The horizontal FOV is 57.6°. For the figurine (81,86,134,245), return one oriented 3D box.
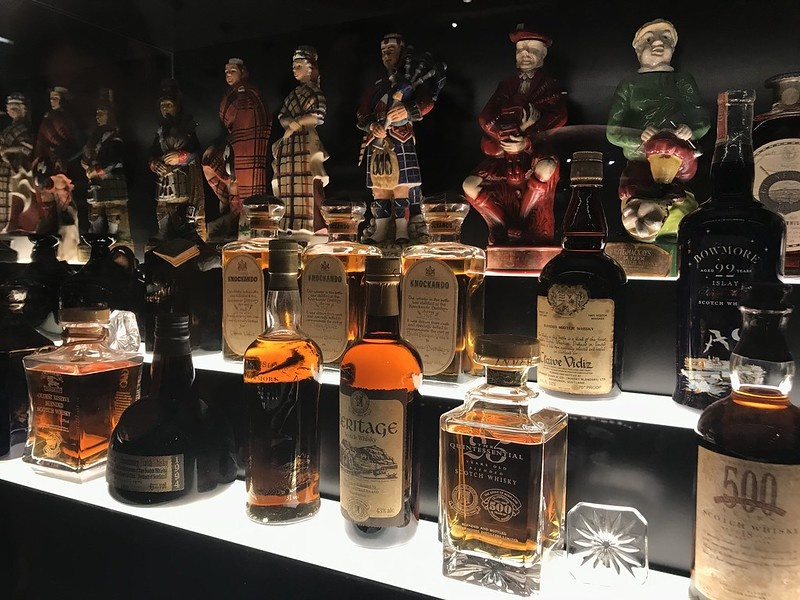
[{"bbox_3d":[-0.855,-0.380,2.102,0.150,0.447,0.109,-1,4,-10],"label":"figurine"}]

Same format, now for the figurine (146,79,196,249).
[{"bbox_3d":[-0.604,-0.385,1.962,0.138,0.403,0.086,-1,4,-13],"label":"figurine"}]

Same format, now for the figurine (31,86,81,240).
[{"bbox_3d":[-1.017,-0.408,2.134,0.133,0.411,0.049,1,4,15],"label":"figurine"}]

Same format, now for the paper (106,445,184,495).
[{"bbox_3d":[-0.514,0.335,1.472,0.103,0.041,0.102,2,0,1],"label":"paper"}]

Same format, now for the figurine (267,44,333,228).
[{"bbox_3d":[-0.245,-0.391,1.796,0.141,0.453,0.116,0,4,-6],"label":"figurine"}]
